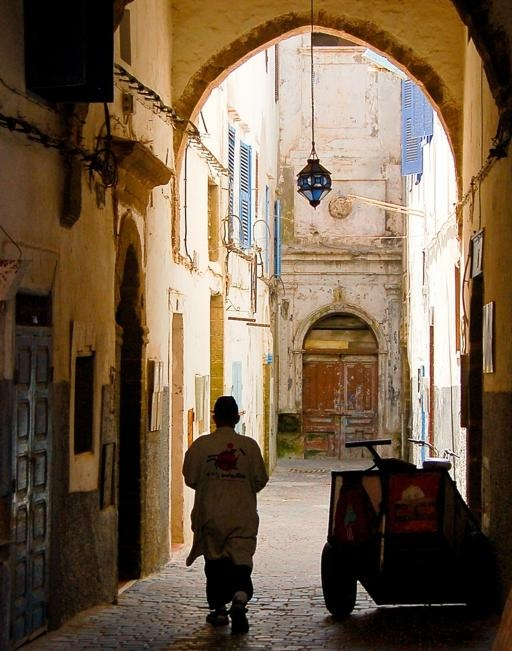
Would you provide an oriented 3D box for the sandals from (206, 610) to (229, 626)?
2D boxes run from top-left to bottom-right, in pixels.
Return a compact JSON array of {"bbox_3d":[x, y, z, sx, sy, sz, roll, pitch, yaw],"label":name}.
[{"bbox_3d":[-0.245,1.827,5.386,0.145,0.083,0.190,1,-6,-4],"label":"sandals"}]

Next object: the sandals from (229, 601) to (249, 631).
[{"bbox_3d":[-0.102,1.712,5.071,0.060,0.176,0.210,0,-1,6],"label":"sandals"}]

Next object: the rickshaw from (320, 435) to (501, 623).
[{"bbox_3d":[0.909,1.198,5.430,0.972,1.118,0.623,0,-5,6],"label":"rickshaw"}]
